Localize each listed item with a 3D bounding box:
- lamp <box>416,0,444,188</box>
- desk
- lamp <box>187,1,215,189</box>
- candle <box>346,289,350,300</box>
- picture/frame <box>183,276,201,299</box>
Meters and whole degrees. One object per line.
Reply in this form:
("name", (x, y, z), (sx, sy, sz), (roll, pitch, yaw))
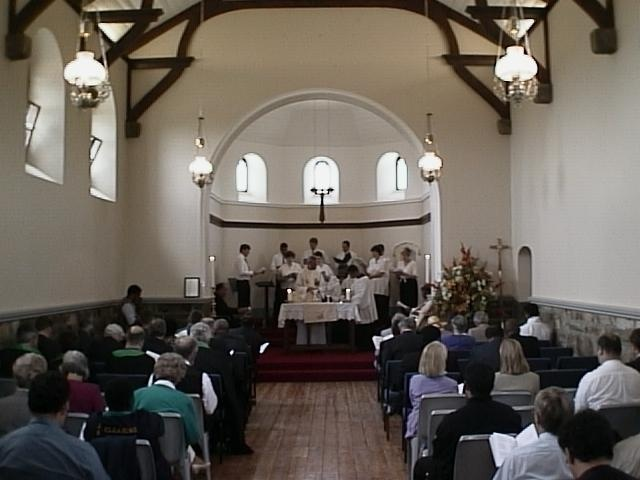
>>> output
("lamp", (2.088, -2.845, 11.183), (0.415, 3.576, 1.482), (0, 0, 11))
("desk", (-0.028, 1.942, 11.905), (1.634, 0.906, 1.527), (-1, -27, -1))
("lamp", (-2.246, -2.775, 11.253), (0.414, 3.566, 1.287), (0, 0, -10))
("candle", (0.562, 1.109, 11.856), (0.067, 0.230, 0.110), (0, 0, -1))
("picture/frame", (-2.515, 0.946, 11.617), (0.365, 0.497, 0.031), (-1, -9, -3))
